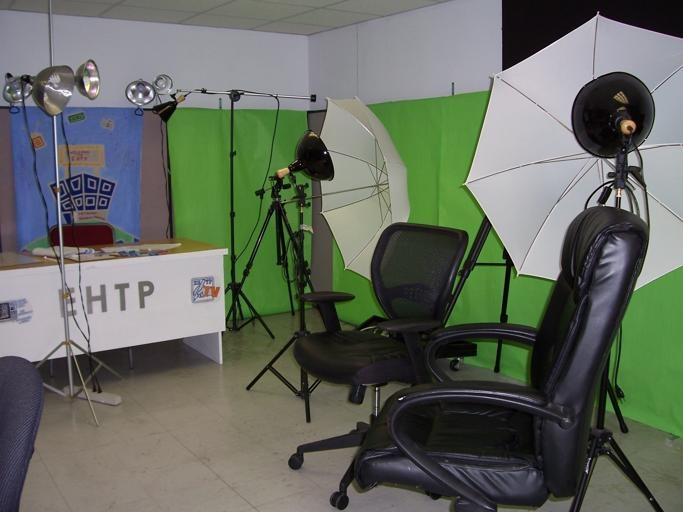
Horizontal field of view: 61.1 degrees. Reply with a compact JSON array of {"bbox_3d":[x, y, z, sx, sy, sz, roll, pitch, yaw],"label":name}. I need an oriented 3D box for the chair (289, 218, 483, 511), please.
[{"bbox_3d":[0.218,0.520,3.308,0.960,1.402,1.108,2,8,9],"label":"chair"}]

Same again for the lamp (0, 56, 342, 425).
[{"bbox_3d":[-1.438,-0.172,4.636,2.510,2.687,0.832,-9,11,-38],"label":"lamp"}]
